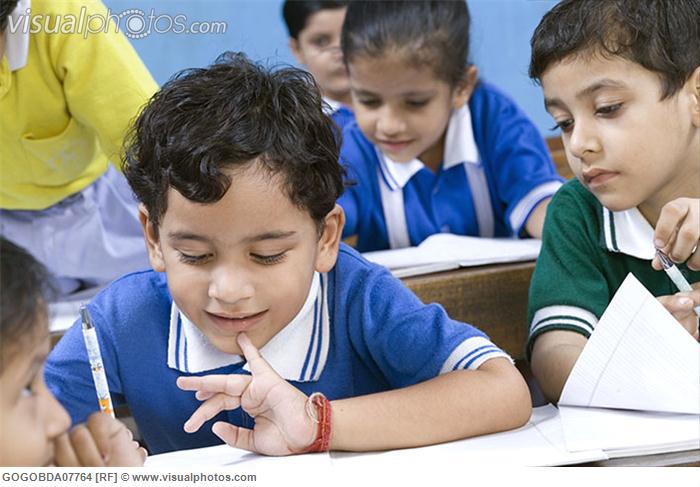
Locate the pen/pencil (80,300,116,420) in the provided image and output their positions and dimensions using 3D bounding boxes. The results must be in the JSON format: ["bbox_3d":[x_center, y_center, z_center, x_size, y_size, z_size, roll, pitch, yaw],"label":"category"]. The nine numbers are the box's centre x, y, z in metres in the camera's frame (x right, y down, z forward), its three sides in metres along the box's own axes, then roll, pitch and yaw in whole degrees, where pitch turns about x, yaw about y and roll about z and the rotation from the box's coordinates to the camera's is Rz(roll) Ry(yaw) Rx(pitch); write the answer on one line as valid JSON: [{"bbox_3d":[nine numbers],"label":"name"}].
[{"bbox_3d":[-0.345,0.160,0.896,0.017,0.173,0.024,-4,20,16],"label":"pen/pencil"}]

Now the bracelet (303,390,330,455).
[{"bbox_3d":[-0.040,0.230,0.853,0.035,0.062,0.053,-8,12,12],"label":"bracelet"}]
